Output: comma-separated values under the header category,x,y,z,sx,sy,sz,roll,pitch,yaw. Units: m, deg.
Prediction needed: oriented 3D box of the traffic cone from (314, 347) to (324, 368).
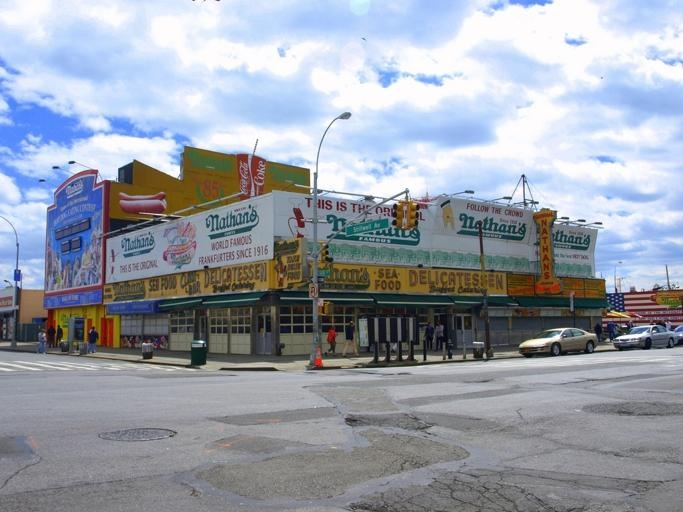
category,x,y,z,sx,sy,sz,roll,pitch,yaw
traffic cone,-1.065,4.492,28.379,0.678,0.938,0.708,1,-10,-9

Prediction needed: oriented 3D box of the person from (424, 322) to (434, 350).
category,x,y,z,sx,sy,sz,roll,pitch,yaw
person,5.412,4.939,39.826,0.489,1.621,1.158,-2,-8,13

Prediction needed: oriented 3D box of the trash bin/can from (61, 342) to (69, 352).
category,x,y,z,sx,sy,sz,roll,pitch,yaw
trash bin/can,-18.317,6.033,42.986,0.440,0.637,1.464,3,-9,-22

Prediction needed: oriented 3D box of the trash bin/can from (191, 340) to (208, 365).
category,x,y,z,sx,sy,sz,roll,pitch,yaw
trash bin/can,-6.522,4.478,29.632,0.642,1.116,1.109,2,-8,-15

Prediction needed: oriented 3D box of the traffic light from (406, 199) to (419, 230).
category,x,y,z,sx,sy,sz,roll,pitch,yaw
traffic light,2.750,-1.725,25.330,0.429,1.037,0.812,-1,-8,5

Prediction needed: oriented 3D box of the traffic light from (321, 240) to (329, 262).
category,x,y,z,sx,sy,sz,roll,pitch,yaw
traffic light,-0.742,-0.223,29.784,0.341,0.846,0.655,0,-8,-2

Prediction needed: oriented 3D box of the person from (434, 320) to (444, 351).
category,x,y,z,sx,sy,sz,roll,pitch,yaw
person,6.013,4.987,39.570,0.510,1.536,1.101,-1,-7,7

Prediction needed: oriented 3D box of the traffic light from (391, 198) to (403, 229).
category,x,y,z,sx,sy,sz,roll,pitch,yaw
traffic light,2.264,-1.739,25.894,0.460,0.981,1.572,-1,-8,5

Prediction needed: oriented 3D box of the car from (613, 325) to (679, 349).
category,x,y,z,sx,sy,sz,roll,pitch,yaw
car,18.424,4.895,39.248,4.191,1.548,2.082,6,-10,-34

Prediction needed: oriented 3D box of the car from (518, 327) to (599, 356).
category,x,y,z,sx,sy,sz,roll,pitch,yaw
car,11.618,4.589,34.621,4.863,1.516,1.449,6,-10,-37
